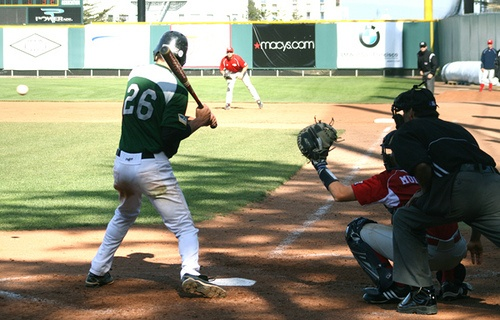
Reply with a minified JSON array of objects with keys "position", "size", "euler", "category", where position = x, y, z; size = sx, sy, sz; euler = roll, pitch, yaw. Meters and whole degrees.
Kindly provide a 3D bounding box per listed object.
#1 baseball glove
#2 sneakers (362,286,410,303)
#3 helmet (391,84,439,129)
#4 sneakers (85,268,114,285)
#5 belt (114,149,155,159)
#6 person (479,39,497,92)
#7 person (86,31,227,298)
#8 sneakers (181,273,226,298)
[{"position":[0.853,-0.204,7.379],"size":[0.654,0.448,0.306],"euler":[-38,-10,17],"category":"baseball glove"},{"position":[1.544,1.541,7.151],"size":[0.622,0.187,0.185],"euler":[2,16,3],"category":"sneakers"},{"position":[1.936,-0.611,7.066],"size":[0.576,0.406,0.473],"euler":[-2,2,41],"category":"helmet"},{"position":[-1.822,1.438,7.537],"size":[0.383,0.136,0.140],"euler":[-1,8,-37],"category":"sneakers"},{"position":[-1.370,-0.075,7.173],"size":[0.504,0.106,0.142],"euler":[4,11,31],"category":"belt"},{"position":[10.096,-3.810,25.779],"size":[0.640,1.859,0.838],"euler":[1,12,19],"category":"person"},{"position":[-1.156,0.082,7.249],"size":[1.547,3.071,0.890],"euler":[-3,11,-3],"category":"person"},{"position":[-0.556,1.483,7.242],"size":[0.691,0.175,0.260],"euler":[14,14,-9],"category":"sneakers"}]
